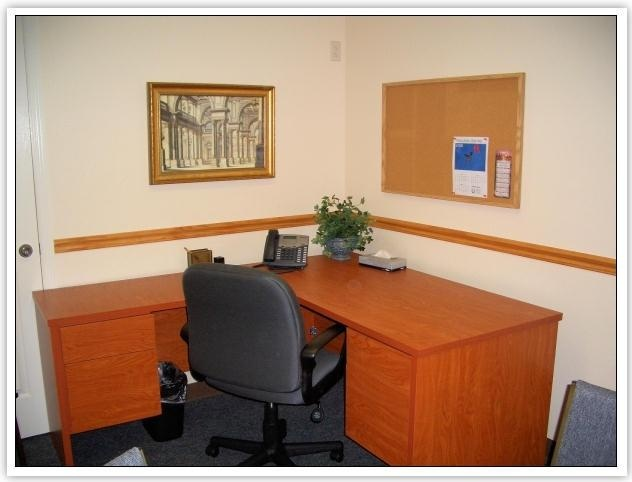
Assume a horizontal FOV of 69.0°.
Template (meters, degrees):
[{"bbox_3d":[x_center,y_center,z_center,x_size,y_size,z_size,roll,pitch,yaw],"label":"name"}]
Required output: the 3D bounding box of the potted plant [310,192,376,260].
[{"bbox_3d":[0.170,-0.125,3.326,0.442,0.430,0.463,-9,17,-27],"label":"potted plant"}]

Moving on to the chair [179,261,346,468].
[{"bbox_3d":[-0.248,0.645,2.371,0.772,1.093,0.716,3,5,27],"label":"chair"}]

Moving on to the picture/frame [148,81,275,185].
[{"bbox_3d":[-0.707,-0.715,2.978,0.696,0.524,0.028,-7,17,-31],"label":"picture/frame"}]
